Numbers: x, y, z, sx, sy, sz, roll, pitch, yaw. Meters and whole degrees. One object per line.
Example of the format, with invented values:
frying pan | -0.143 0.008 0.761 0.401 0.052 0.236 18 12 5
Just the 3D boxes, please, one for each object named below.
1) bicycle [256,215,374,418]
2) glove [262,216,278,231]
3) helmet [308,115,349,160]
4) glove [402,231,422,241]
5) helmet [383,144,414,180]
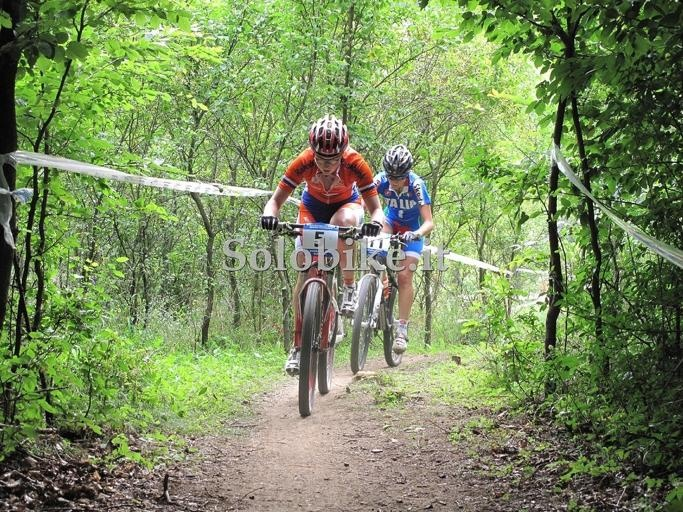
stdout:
bicycle | -0.232 0.629 7.318 0.777 2.070 1.010 -1 8 14
glove | -0.710 -0.324 6.856 0.141 0.155 0.125 -4 6 3
helmet | -0.137 -1.240 7.046 0.305 0.463 0.239 2 -35 -1
glove | 0.848 -0.238 8.250 0.152 0.093 0.225 -2 2 6
helmet | 0.764 -1.262 9.102 0.309 0.466 0.263 2 -44 11
